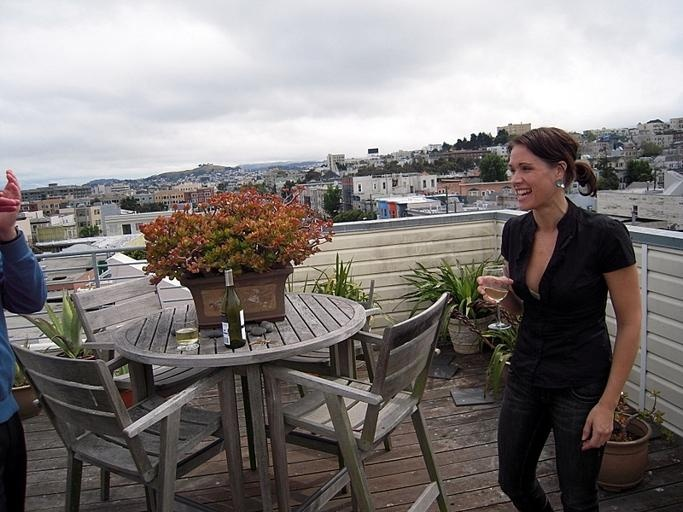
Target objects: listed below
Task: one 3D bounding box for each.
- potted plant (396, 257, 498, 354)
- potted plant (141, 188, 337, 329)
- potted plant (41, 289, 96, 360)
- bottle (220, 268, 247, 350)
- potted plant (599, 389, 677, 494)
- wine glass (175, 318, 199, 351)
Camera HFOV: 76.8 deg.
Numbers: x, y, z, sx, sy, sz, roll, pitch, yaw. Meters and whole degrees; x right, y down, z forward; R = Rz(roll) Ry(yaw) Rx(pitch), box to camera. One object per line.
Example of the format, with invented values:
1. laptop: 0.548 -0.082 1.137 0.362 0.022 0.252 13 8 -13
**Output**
1. potted plant: 1.003 0.457 4.228 0.921 0.686 0.894 -1 2 -16
2. potted plant: -0.548 0.074 2.227 0.861 0.567 0.626 -6 1 -26
3. potted plant: -2.198 0.625 3.410 0.314 0.300 0.292 -10 12 -4
4. bottle: -0.478 0.229 1.833 0.101 0.348 0.120 -9 8 -9
5. potted plant: 1.506 0.978 2.334 0.435 0.417 0.337 -8 3 7
6. wine glass: -0.717 0.363 1.961 0.123 0.136 0.128 0 0 -2
